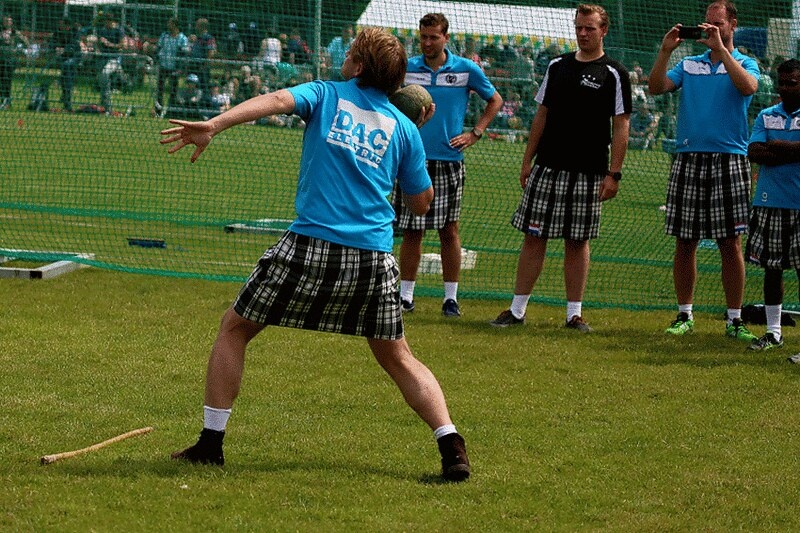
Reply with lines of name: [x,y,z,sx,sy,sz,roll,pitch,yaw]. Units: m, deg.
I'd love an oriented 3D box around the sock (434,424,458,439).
sock: [0.300,1.083,7.869,0.112,0.078,0.107,-15,-8,22]

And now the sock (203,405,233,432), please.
sock: [-1.189,0.989,7.806,0.179,0.145,0.164,15,4,-3]

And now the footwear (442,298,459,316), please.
footwear: [0.450,0.371,10.735,0.140,0.105,0.258,0,-5,1]

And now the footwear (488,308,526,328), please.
footwear: [0.941,0.477,10.473,0.318,0.126,0.118,1,2,-18]

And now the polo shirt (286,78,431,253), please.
polo shirt: [-0.247,-0.688,7.943,1.310,0.965,0.851,15,14,7]

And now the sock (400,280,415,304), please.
sock: [0.050,0.237,10.752,0.184,0.256,0.187,1,2,-3]

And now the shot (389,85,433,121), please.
shot: [0.104,-1.104,8.114,0.247,0.163,0.265,24,17,25]

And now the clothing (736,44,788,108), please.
clothing: [3.336,-1.747,11.025,0.296,0.848,0.356,5,3,-3]

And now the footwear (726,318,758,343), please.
footwear: [2.961,0.563,10.437,0.120,0.150,0.345,-1,3,-29]

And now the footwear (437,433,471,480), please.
footwear: [0.343,1.261,7.680,0.145,0.253,0.392,-5,1,1]

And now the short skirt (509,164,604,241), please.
short skirt: [1.388,-0.561,10.407,0.809,0.676,0.450,13,3,3]

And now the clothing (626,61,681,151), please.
clothing: [2.722,-1.702,12.865,0.893,0.867,0.201,0,-4,24]

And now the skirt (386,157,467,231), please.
skirt: [0.336,-0.617,10.580,0.940,0.836,0.553,-3,5,-4]

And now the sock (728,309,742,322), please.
sock: [2.936,0.431,10.484,0.110,0.082,0.094,1,5,10]

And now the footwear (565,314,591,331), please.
footwear: [1.553,0.509,10.455,0.100,0.091,0.245,-1,-1,-28]

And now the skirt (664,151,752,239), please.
skirt: [2.658,-0.614,10.228,0.787,0.708,0.418,3,1,11]

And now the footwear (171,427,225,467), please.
footwear: [-1.316,1.192,7.860,0.436,0.264,0.161,10,0,9]

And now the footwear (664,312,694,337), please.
footwear: [2.488,0.520,10.616,0.124,0.150,0.369,-1,-3,38]

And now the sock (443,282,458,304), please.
sock: [0.460,0.235,10.761,0.155,0.214,0.154,-1,10,-8]

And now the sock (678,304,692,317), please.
sock: [2.518,0.387,10.586,0.120,0.149,0.118,-1,5,-1]

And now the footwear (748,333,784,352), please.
footwear: [3.110,0.646,10.181,0.343,0.121,0.118,-1,6,-29]

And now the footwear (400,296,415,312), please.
footwear: [0.069,0.348,10.748,0.101,0.096,0.135,-3,1,7]
